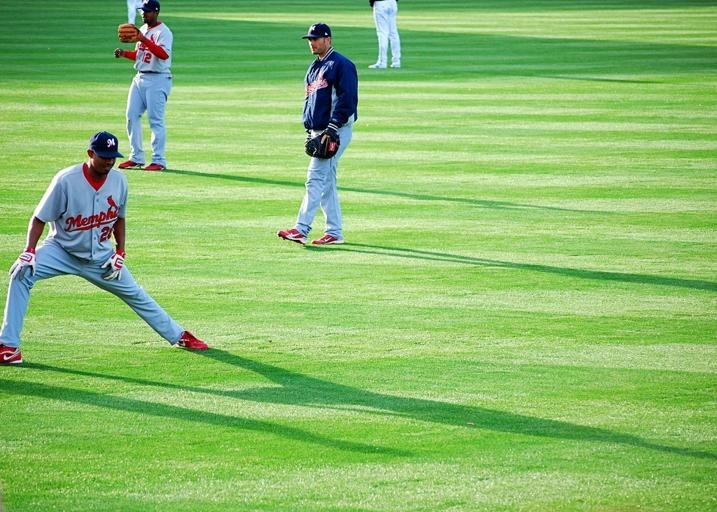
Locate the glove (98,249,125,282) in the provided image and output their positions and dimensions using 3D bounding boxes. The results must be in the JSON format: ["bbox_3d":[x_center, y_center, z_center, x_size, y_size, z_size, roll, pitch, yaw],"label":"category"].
[{"bbox_3d":[-2.478,0.112,15.669,0.269,0.262,0.123,13,9,-2],"label":"glove"}]

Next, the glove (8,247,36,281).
[{"bbox_3d":[-3.322,0.106,15.523,0.246,0.289,0.129,24,-8,-2],"label":"glove"}]

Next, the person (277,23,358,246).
[{"bbox_3d":[-0.422,-1.447,18.757,0.724,2.645,0.866,6,15,-3],"label":"person"}]

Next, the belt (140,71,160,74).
[{"bbox_3d":[-2.881,-2.536,21.602,0.256,0.043,0.062,3,12,0],"label":"belt"}]

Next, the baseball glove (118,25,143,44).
[{"bbox_3d":[-3.214,-3.083,21.826,0.443,0.262,0.276,6,28,-5],"label":"baseball glove"}]

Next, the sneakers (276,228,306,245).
[{"bbox_3d":[-0.800,-0.243,18.733,0.411,0.166,0.138,14,30,-32],"label":"sneakers"}]

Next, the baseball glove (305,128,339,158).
[{"bbox_3d":[-0.457,-1.371,18.691,0.387,0.362,0.169,-7,22,-14],"label":"baseball glove"}]

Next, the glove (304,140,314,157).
[{"bbox_3d":[-0.594,-1.288,18.707,0.099,0.172,0.154,-14,7,-3],"label":"glove"}]

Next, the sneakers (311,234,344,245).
[{"bbox_3d":[-0.353,-0.176,18.815,0.429,0.116,0.127,1,1,1],"label":"sneakers"}]

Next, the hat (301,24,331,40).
[{"bbox_3d":[-0.490,-2.682,18.724,0.255,0.196,0.215,6,13,6],"label":"hat"}]

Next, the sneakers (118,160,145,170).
[{"bbox_3d":[-3.175,-1.271,21.800,0.413,0.117,0.121,3,4,-6],"label":"sneakers"}]

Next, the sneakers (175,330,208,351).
[{"bbox_3d":[-1.713,0.891,15.983,0.455,0.135,0.140,4,22,13],"label":"sneakers"}]

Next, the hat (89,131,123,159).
[{"bbox_3d":[-2.532,-1.099,15.407,0.374,0.164,0.249,19,25,30],"label":"hat"}]

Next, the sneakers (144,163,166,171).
[{"bbox_3d":[-2.821,-1.219,21.610,0.131,0.063,0.217,-2,-4,38],"label":"sneakers"}]
